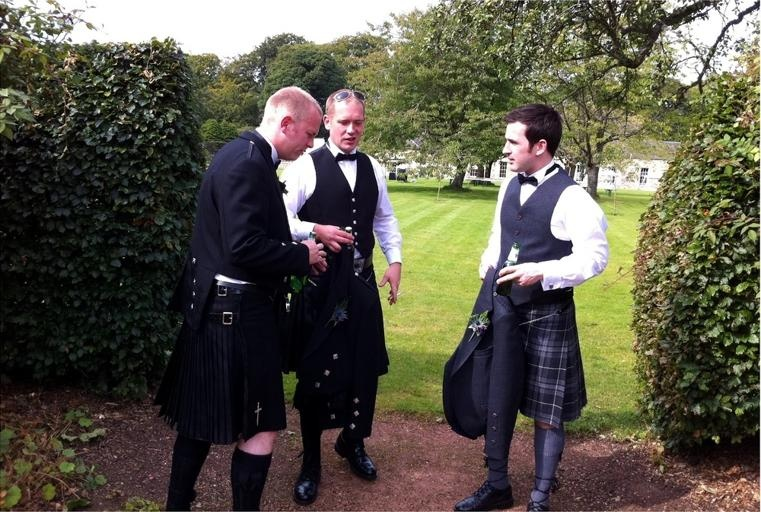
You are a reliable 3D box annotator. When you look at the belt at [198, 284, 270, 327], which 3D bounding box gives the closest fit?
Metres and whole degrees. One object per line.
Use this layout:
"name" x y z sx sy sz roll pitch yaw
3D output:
"belt" -0.987 0.337 3.779 0.330 0.230 0.283 17 -22 -26
